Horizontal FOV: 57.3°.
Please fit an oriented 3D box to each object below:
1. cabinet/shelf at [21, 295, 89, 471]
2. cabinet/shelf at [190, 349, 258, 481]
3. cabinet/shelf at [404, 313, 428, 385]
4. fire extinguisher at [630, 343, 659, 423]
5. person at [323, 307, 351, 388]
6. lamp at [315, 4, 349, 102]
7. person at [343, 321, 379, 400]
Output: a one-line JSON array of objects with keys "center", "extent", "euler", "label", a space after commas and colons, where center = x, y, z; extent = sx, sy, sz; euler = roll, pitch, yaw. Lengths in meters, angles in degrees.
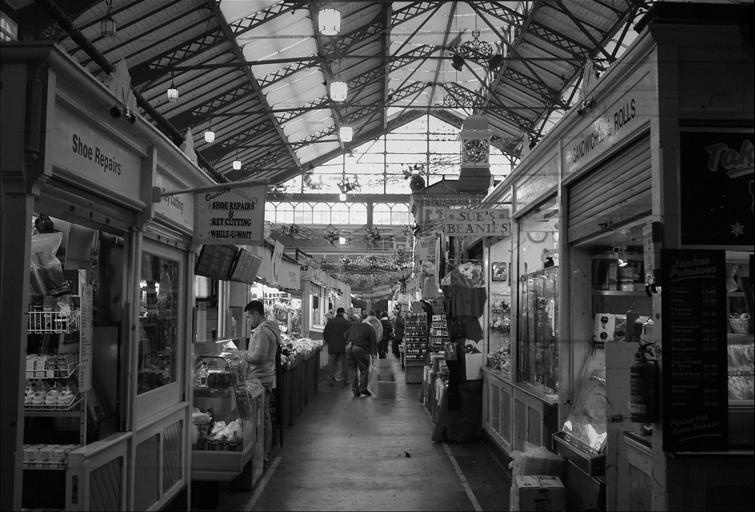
[{"center": [-2.288, 0.949, 4.960], "extent": [0.334, 1.365, 0.566], "euler": [2, 1, 1], "label": "cabinet/shelf"}, {"center": [-1.552, 1.617, 7.010], "extent": [0.619, 1.259, 0.734], "euler": [2, 1, -2], "label": "cabinet/shelf"}, {"center": [0.901, 2.114, 16.046], "extent": [0.533, 1.666, 0.509], "euler": [-1, -11, 5], "label": "cabinet/shelf"}, {"center": [1.671, 0.790, 4.328], "extent": [0.226, 0.494, 0.148], "euler": [-10, -14, 39], "label": "fire extinguisher"}, {"center": [-0.967, 2.019, 14.539], "extent": [0.520, 1.799, 0.733], "euler": [2, 2, 7], "label": "person"}, {"center": [-0.742, -3.698, 11.381], "extent": [0.422, 2.190, 0.481], "euler": [4, 0, -5], "label": "lamp"}, {"center": [-0.346, 2.062, 14.021], "extent": [0.623, 1.602, 1.082], "euler": [0, -11, -3], "label": "person"}]
